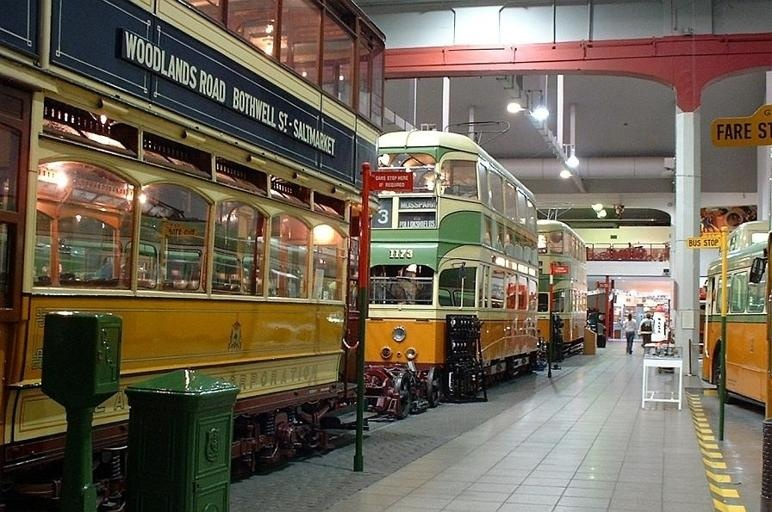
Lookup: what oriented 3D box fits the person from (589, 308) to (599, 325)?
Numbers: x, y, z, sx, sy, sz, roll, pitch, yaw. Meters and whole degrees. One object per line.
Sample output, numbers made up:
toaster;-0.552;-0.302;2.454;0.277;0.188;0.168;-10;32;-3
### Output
person;15.454;4.504;45.464;0.687;1.249;0.710;0;-17;11
